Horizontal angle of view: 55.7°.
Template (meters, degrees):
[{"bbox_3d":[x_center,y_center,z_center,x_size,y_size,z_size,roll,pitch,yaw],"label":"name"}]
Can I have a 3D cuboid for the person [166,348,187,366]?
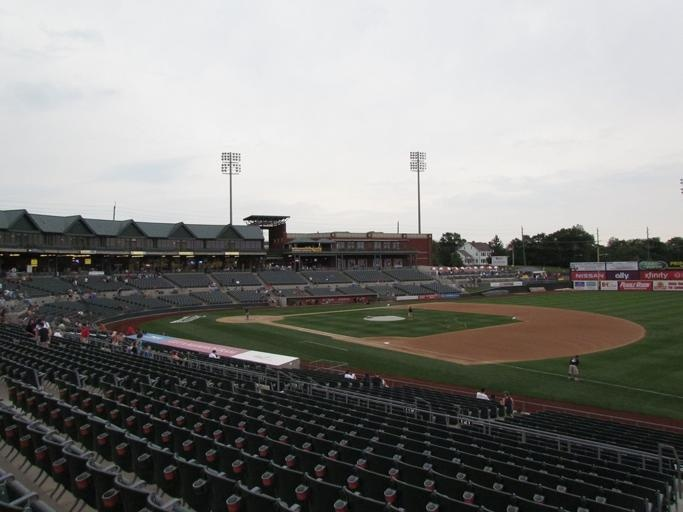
[{"bbox_3d":[-7.232,4.539,28.413,0.849,0.300,1.046,4,14,-43],"label":"person"}]
